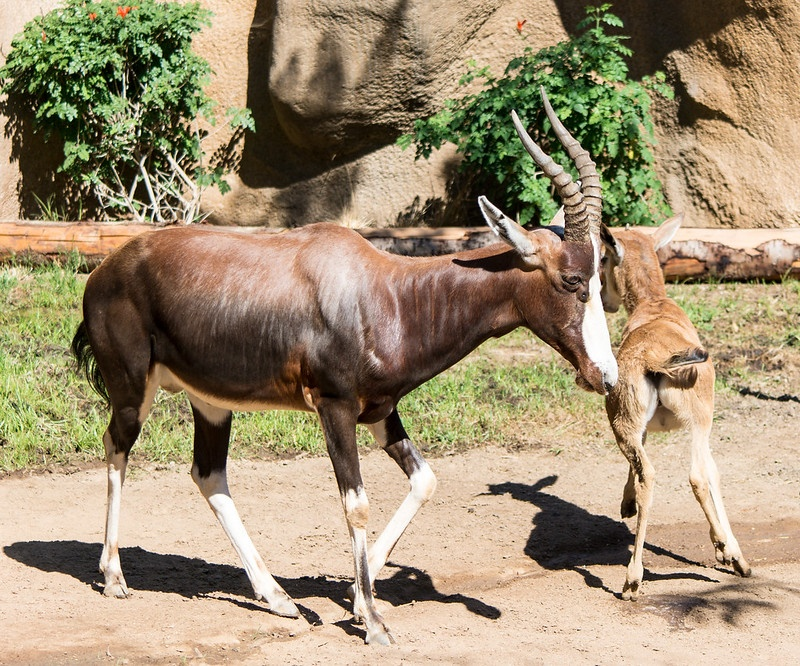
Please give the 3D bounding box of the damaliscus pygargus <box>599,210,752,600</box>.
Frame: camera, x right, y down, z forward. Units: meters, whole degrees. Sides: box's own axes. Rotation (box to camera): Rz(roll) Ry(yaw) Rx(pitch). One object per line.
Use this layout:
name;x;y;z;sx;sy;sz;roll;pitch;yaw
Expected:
damaliscus pygargus;1.942;0.450;7.799;0.975;2.350;1.922;1;14;6
